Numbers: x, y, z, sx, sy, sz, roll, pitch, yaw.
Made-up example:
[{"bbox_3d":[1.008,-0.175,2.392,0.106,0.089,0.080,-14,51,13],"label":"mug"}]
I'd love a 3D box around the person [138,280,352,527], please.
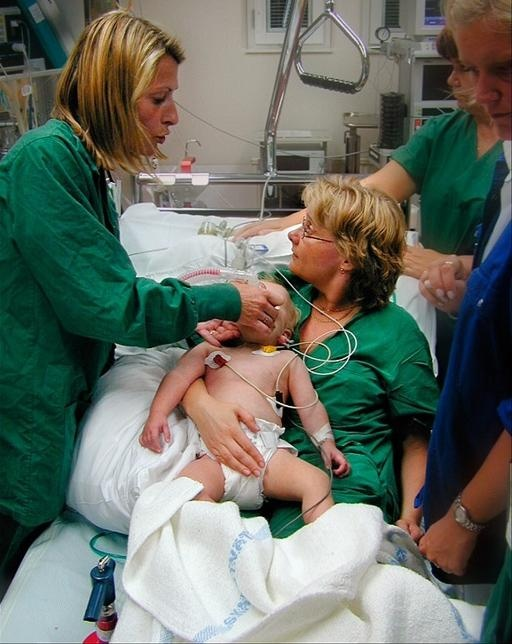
[{"bbox_3d":[-0.035,0.217,1.225,0.470,0.204,0.674,1,56,-5],"label":"person"}]

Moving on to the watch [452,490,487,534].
[{"bbox_3d":[0.282,0.257,0.694,0.025,0.046,0.039,-44,37,1],"label":"watch"}]

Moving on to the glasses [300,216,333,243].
[{"bbox_3d":[0.155,-0.238,1.367,0.080,0.021,0.072,12,14,-10],"label":"glasses"}]

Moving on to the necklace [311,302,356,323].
[{"bbox_3d":[0.207,-0.025,1.432,0.074,0.017,0.052,-10,33,19],"label":"necklace"}]

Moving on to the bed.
[{"bbox_3d":[-0.068,0.204,1.042,0.626,0.186,0.822,5,40,-1],"label":"bed"}]
